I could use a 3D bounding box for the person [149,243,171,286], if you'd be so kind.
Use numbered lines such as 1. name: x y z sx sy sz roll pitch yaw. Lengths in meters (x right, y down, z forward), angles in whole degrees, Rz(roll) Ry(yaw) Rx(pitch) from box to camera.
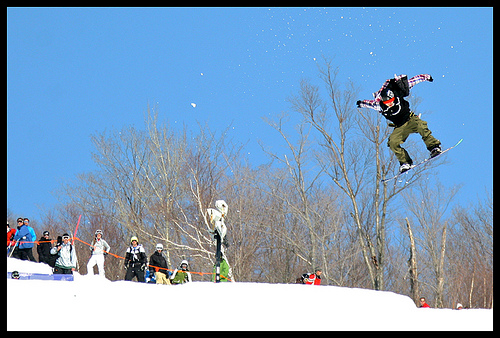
1. person: -3.268 3.468 27.701 0.792 1.404 1.581 1 5 -7

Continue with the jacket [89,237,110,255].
1. jacket: -5.747 2.908 29.060 0.616 0.694 0.827 0 5 -14

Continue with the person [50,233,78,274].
1. person: -6.975 3.201 28.445 0.882 1.735 1.279 0 5 -19

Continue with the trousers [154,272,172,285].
1. trousers: -3.101 3.927 27.301 0.555 0.387 0.784 1 5 -11

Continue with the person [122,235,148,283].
1. person: -4.195 3.392 27.988 0.871 1.742 1.454 1 5 -8

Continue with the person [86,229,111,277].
1. person: -5.775 3.329 28.983 0.812 2.166 0.658 5 13 -1

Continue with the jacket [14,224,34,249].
1. jacket: -9.419 2.831 31.581 0.814 1.211 0.869 2 -2 -12

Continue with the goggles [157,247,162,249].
1. goggles: -3.322 2.900 27.868 0.280 0.052 0.072 0 -9 -18

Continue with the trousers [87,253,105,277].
1. trousers: -5.887 3.665 28.986 0.580 0.989 1.386 0 5 -11

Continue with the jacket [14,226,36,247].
1. jacket: -9.400 2.723 31.900 0.513 0.787 0.727 -1 20 -5

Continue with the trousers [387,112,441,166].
1. trousers: 5.544 -1.027 25.890 1.619 1.855 0.562 3 5 20

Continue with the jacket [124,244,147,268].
1. jacket: -4.238 3.257 28.136 0.813 0.907 0.485 1 -13 -4

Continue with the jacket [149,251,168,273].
1. jacket: -3.419 3.496 28.268 0.639 0.986 1.489 1 5 -8
